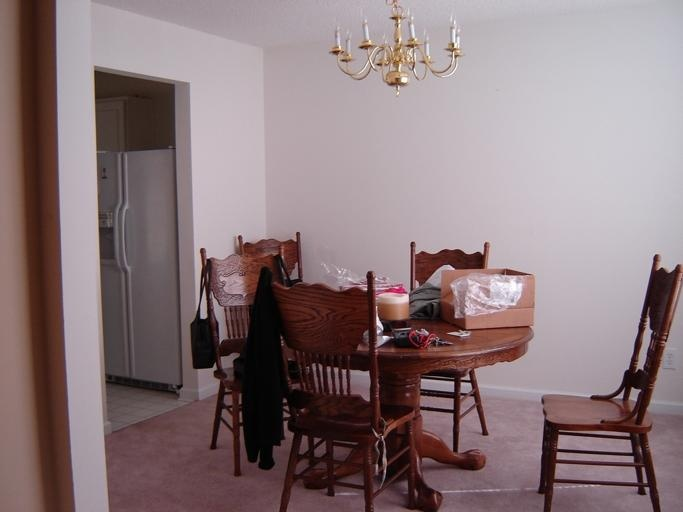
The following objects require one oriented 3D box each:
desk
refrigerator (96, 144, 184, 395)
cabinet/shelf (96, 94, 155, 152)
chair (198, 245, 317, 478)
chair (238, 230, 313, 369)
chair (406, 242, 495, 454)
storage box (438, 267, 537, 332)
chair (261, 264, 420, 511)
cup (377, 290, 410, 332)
[{"bbox_3d":[0.506,0.643,2.766,0.969,0.660,1.014,-2,-1,17],"label":"desk"},{"bbox_3d":[-1.587,0.105,4.549,0.771,1.877,0.261,3,11,23],"label":"refrigerator"},{"bbox_3d":[-2.003,-1.220,5.212,0.502,0.484,0.268,-4,10,-12],"label":"cabinet/shelf"},{"bbox_3d":[-0.565,0.610,3.277,0.597,1.219,0.553,-4,0,7],"label":"chair"},{"bbox_3d":[-0.662,0.286,5.194,0.670,1.257,0.792,0,21,-1],"label":"chair"},{"bbox_3d":[0.593,0.569,3.646,0.649,1.324,0.716,1,2,18],"label":"chair"},{"bbox_3d":[0.732,0.177,2.946,0.341,0.232,0.355,-4,5,-39],"label":"storage box"},{"bbox_3d":[0.024,0.653,2.735,0.701,1.303,0.627,0,10,11],"label":"chair"},{"bbox_3d":[0.267,0.257,2.903,0.159,0.126,0.156,-3,5,0],"label":"cup"}]
